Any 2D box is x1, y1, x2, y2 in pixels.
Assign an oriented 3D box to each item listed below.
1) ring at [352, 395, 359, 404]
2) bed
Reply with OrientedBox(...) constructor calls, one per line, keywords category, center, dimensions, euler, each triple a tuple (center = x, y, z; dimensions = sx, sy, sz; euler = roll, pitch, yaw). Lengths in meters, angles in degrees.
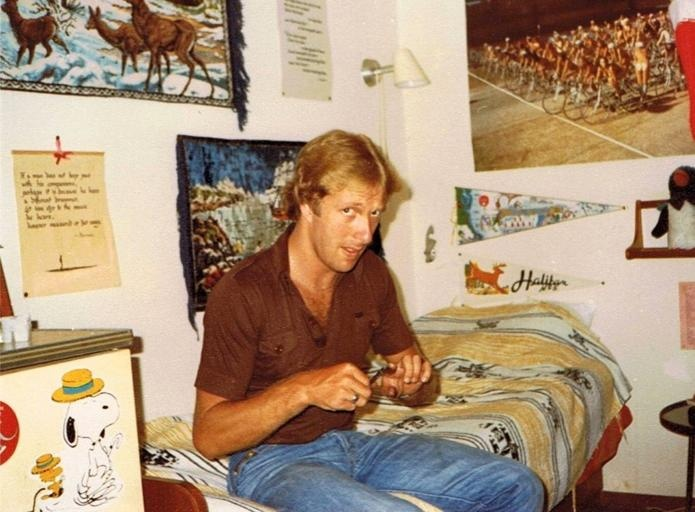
OrientedBox(category="ring", center=(0.023, 0.412, 1.662), dimensions=(0.019, 0.018, 0.022), euler=(-11, -8, 3))
OrientedBox(category="bed", center=(0.600, 0.606, 2.602), dimensions=(1.234, 0.481, 1.744), euler=(3, 5, 38))
